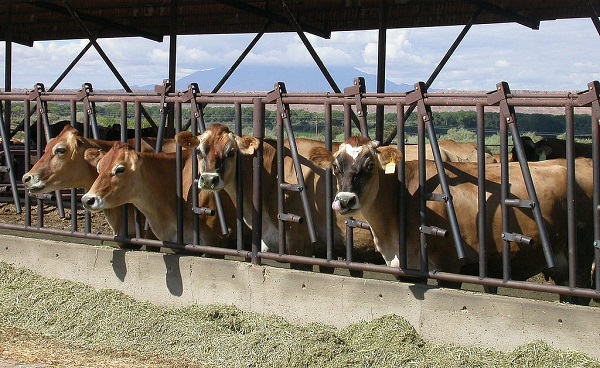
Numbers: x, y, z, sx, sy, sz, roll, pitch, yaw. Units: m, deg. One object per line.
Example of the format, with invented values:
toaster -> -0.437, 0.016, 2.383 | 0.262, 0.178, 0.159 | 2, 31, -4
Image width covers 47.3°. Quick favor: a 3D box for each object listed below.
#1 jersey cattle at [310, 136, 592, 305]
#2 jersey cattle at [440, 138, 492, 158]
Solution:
jersey cattle -> 2.433, 0.547, 9.970 | 4.082, 2.516, 0.875 | -2, 4, -10
jersey cattle -> 3.150, -0.738, 13.392 | 0.505, 0.244, 0.644 | 5, 10, -20
